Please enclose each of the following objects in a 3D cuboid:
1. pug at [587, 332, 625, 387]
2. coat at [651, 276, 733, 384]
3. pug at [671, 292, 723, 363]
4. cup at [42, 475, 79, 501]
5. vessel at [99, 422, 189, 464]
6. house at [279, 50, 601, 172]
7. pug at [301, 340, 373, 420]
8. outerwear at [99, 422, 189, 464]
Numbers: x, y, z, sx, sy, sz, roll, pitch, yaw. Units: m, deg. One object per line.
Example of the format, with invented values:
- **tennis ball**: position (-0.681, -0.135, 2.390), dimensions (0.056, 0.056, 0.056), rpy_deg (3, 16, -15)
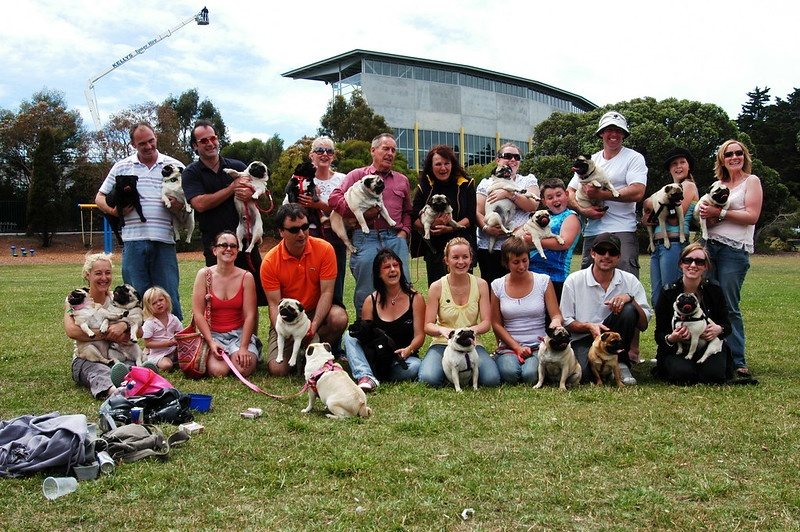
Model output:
- **pug**: position (2.499, 1.087, 7.976), dimensions (0.437, 0.710, 0.348), rpy_deg (-1, 15, -1)
- **coat**: position (3.633, 0.840, 8.437), dimensions (0.998, 1.304, 1.202), rpy_deg (-1, -1, 31)
- **pug**: position (3.558, 0.725, 7.893), dimensions (0.581, 0.854, 0.228), rpy_deg (0, 15, 3)
- **cup**: position (-2.908, 1.879, 5.680), dimensions (0.274, 0.155, 0.141), rpy_deg (-9, 18, -30)
- **vessel**: position (-2.463, 1.667, 6.245), dimensions (0.450, 0.151, 0.404), rpy_deg (3, -1, -1)
- **house**: position (0.354, -12.233, 52.068), dimensions (28.941, 8.227, 8.037), rpy_deg (1, 19, -11)
- **pug**: position (-0.650, 1.256, 7.381), dimensions (0.511, 0.632, 0.890), rpy_deg (-7, 19, -40)
- **outerwear**: position (-2.503, 1.680, 6.393), dimensions (0.792, 0.252, 0.885), rpy_deg (1, -2, 19)
